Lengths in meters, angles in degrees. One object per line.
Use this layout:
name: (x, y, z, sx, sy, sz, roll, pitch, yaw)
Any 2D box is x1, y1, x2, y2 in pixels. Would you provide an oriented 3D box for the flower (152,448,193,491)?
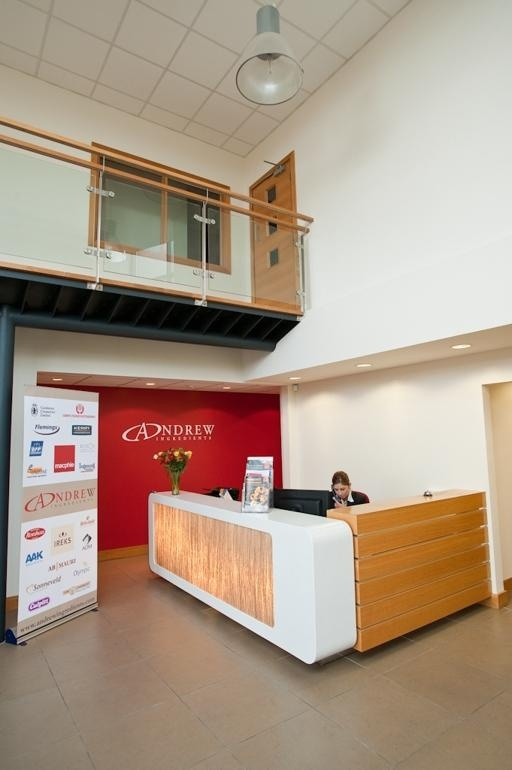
flower: (-0.903, 0.929, 5.574, 0.291, 0.484, 0.315, 1, -5, -20)

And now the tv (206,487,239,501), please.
tv: (-0.382, 1.295, 6.217, 0.300, 0.138, 0.941, -1, -5, -5)

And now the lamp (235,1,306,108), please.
lamp: (0.089, -2.387, 3.836, 0.473, 0.354, 0.448, -1, -5, -2)

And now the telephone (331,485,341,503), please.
telephone: (0.734, 1.007, 4.871, 0.046, 0.195, 0.137, -2, 9, 21)

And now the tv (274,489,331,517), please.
tv: (0.356, 0.950, 4.248, 0.519, 0.178, 0.305, -4, -5, 22)
